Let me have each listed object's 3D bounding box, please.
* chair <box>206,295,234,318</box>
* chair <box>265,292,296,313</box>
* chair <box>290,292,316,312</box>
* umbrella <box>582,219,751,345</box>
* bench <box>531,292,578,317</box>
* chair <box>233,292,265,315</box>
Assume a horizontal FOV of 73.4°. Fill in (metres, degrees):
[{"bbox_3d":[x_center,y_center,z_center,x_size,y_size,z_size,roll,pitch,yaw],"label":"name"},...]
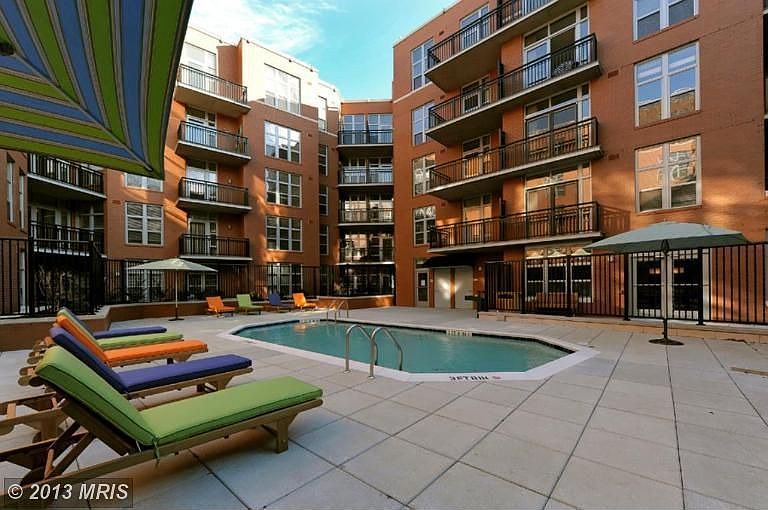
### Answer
[{"bbox_3d":[-7.439,2.345,23.505,0.799,0.806,1.210,0,1,-44],"label":"chair"},{"bbox_3d":[-5.232,2.343,25.394,0.795,0.778,1.184,1,-3,-44],"label":"chair"},{"bbox_3d":[-4.132,2.377,26.305,1.067,0.782,0.765,1,0,42],"label":"chair"},{"bbox_3d":[8.630,0.551,16.405,4.195,3.570,4.187,1,-6,-12],"label":"umbrella"},{"bbox_3d":[6.756,1.953,20.489,1.117,0.704,1.145,-1,-3,21],"label":"bench"},{"bbox_3d":[-6.496,2.324,24.333,1.225,0.865,0.809,2,2,45],"label":"chair"}]
